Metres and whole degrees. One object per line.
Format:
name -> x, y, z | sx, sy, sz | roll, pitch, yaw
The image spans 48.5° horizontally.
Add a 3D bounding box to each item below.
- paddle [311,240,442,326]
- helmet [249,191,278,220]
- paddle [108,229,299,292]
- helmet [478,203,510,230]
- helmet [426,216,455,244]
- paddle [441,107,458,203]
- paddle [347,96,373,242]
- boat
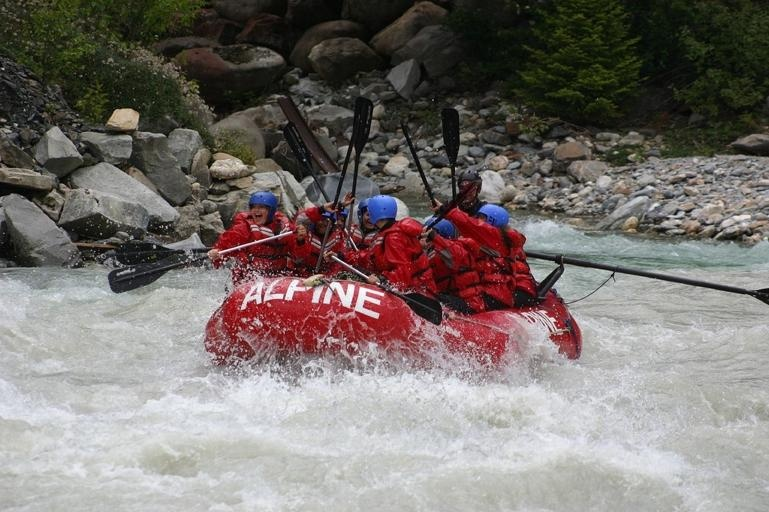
paddle -> -0.308, 0.274, 11.352 | 2.333, 0.561, 0.158 | 28, -10, 7
helmet -> -1.751, -0.739, 12.178 | 0.373, 0.400, 0.475 | -2, -4, 33
paddle -> -2.410, 0.114, 12.113 | 3.225, 0.854, 0.136 | -10, -23, -3
helmet -> 1.542, -0.582, 11.970 | 0.419, 0.296, 0.276 | 23, 20, -11
helmet -> 0.811, -0.392, 11.953 | 0.407, 0.329, 0.299 | -2, 6, -11
paddle -> 1.022, -1.841, 13.350 | 0.256, 2.058, 0.146 | 0, 22, 7
paddle -> -0.460, -1.131, 12.302 | 0.317, 2.335, 0.196 | 9, 14, -3
boat -> 0.063, 0.935, 11.129 | 3.410, 0.616, 1.779 | 10, -7, -14
